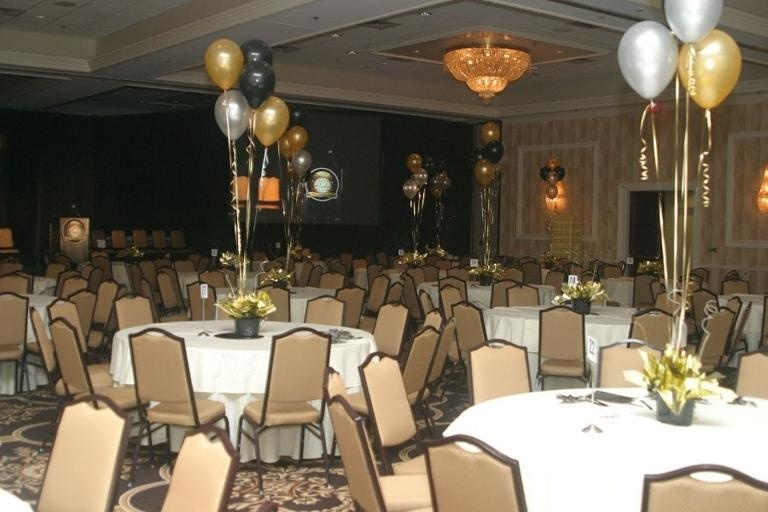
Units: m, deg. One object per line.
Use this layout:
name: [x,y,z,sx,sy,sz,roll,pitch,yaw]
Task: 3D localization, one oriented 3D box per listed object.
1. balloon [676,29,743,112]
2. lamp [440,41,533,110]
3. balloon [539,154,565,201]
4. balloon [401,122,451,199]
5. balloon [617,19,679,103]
balloon: [2.456,-1.396,4.464,0.455,0.595,0.476,5,3,35]
lamp: [1.854,-3.157,10.550,1.517,0.807,1.510,-5,11,-24]
balloon: [4.391,-2.008,15.334,0.615,1.053,0.685,2,3,17]
balloon: [1.187,-2.371,15.251,0.523,1.513,1.454,-5,-14,1]
balloon: [1.911,-1.414,4.262,0.426,0.581,0.438,2,16,37]
